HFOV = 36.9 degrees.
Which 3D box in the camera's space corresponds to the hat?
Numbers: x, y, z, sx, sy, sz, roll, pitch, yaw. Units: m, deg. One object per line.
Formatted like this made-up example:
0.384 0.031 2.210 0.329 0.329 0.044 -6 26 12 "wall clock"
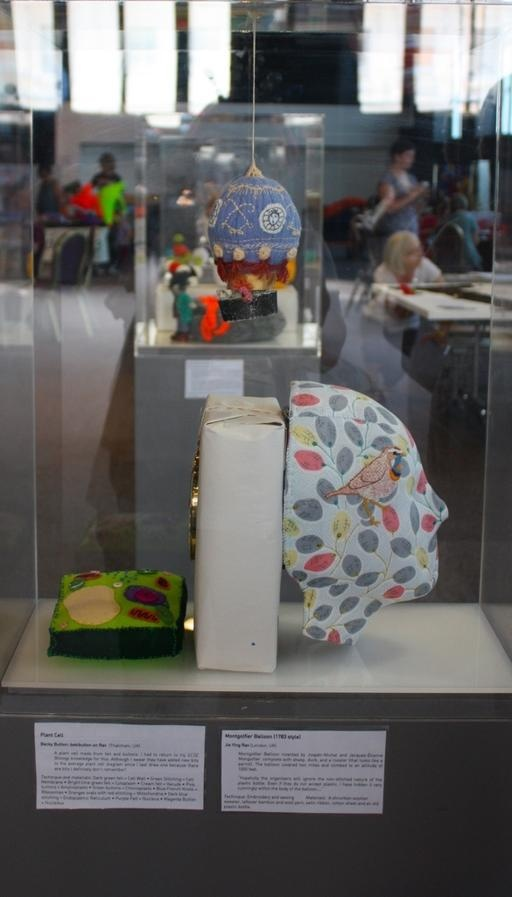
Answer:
-0.001 -0.401 1.285 0.153 0.161 0.154 -10 26 -26 "hat"
